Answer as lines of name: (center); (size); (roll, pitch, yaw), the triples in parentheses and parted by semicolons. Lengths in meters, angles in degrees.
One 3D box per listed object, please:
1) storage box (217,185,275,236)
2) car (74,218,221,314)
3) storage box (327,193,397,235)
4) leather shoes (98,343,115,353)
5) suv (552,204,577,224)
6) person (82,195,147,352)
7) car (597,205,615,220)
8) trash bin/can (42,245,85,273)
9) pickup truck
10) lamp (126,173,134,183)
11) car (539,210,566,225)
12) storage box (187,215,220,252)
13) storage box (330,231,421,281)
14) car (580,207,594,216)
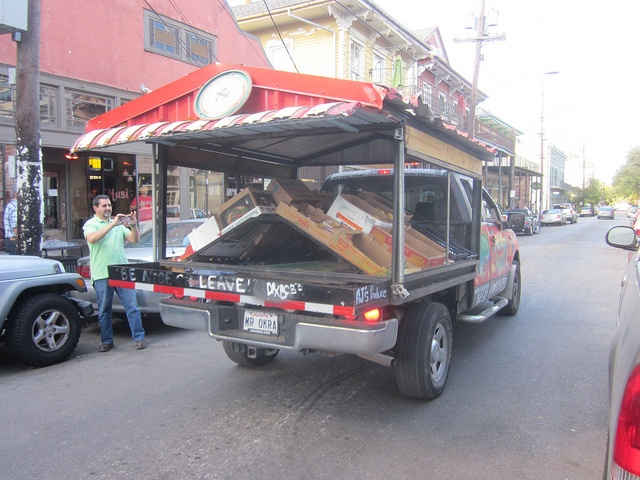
storage box: (-0.887, -0.423, 6.460); (0.530, 0.375, 0.552); (-33, -10, 16)
car: (-2.668, 0.242, 8.872); (1.093, 1.053, 2.453); (2, 8, 15)
storage box: (0.426, -0.318, 6.313); (0.506, 0.243, 0.535); (28, 9, 17)
leather shoes: (-2.976, 1.498, 7.385); (0.079, 0.111, 0.238); (-1, -9, 7)
suv: (21.011, -2.085, 45.095); (1.512, 1.629, 3.576); (0, 11, 26)
person: (-2.856, 0.454, 7.449); (0.909, 2.099, 0.719); (4, 10, 26)
car: (31.066, -2.996, 57.738); (1.102, 0.978, 2.574); (-1, 4, 25)
trash bin/can: (-4.382, 0.307, 9.036); (0.390, 0.447, 0.409); (0, 2, 38)
pickup truck: (0.561, 0.355, 6.790); (2.616, 2.425, 4.710); (9, 14, 43)
lamp: (-5.700, -1.858, 15.942); (0.240, 0.266, 0.147); (-3, -32, -7)
car: (17.971, -1.709, 40.970); (1.488, 1.297, 2.165); (8, 13, 39)
storage box: (-1.418, -0.061, 6.510); (0.420, 0.341, 0.124); (-39, -38, 20)
storage box: (0.552, 0.017, 5.749); (0.832, 0.217, 0.503); (37, 29, 13)
car: (35.437, -3.768, 70.494); (1.063, 0.920, 2.516); (-5, 4, 22)
